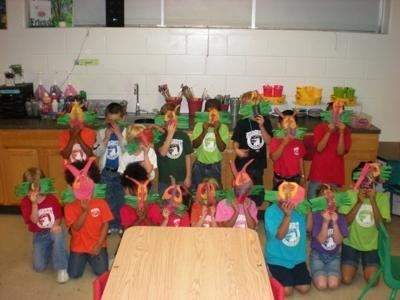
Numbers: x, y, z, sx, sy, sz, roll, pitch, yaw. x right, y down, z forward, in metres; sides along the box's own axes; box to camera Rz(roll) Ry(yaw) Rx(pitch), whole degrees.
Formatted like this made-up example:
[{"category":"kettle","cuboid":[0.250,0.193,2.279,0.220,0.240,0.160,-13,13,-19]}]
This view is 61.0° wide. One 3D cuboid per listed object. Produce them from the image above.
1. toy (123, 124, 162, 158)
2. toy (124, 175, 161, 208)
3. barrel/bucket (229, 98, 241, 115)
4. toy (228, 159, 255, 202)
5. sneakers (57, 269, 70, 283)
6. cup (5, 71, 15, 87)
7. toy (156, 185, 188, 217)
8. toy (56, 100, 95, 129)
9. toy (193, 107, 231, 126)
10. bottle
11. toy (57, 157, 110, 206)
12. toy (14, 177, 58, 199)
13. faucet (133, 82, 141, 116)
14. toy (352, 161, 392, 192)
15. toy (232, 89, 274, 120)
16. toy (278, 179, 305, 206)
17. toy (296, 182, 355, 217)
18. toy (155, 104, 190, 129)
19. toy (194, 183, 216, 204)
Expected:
[{"category":"toy","cuboid":[-0.555,-0.135,3.019,0.229,0.313,0.094,-4,35,-26]},{"category":"toy","cuboid":[-0.469,0.333,2.692,0.247,0.268,0.096,-1,19,-17]},{"category":"barrel/bucket","cuboid":[0.456,-0.538,4.195,0.166,0.189,0.163,1,7,0]},{"category":"toy","cuboid":[0.315,0.233,2.459,0.140,0.353,0.319,3,13,20]},{"category":"sneakers","cuboid":[-1.151,1.058,2.828,0.066,0.115,0.114,2,-13,-10]},{"category":"cup","cuboid":[-2.266,-0.844,4.017,0.097,0.168,0.227,-8,14,-29]},{"category":"toy","cuboid":[-0.203,0.393,2.571,0.189,0.303,0.186,-3,12,-7]},{"category":"toy","cuboid":[-1.184,-0.327,3.274,0.304,0.222,0.317,-1,9,-11]},{"category":"toy","cuboid":[0.117,-0.304,3.253,0.330,0.146,0.298,-2,12,-2]},{"category":"bottle","cuboid":[-1.723,-0.577,3.976,0.464,0.326,0.182,-2,10,-13]},{"category":"toy","cuboid":[-0.876,0.228,2.517,0.314,0.340,0.155,-7,13,-27]},{"category":"toy","cuboid":[-1.335,0.301,2.764,0.265,0.160,0.072,-6,9,1]},{"category":"faucet","cuboid":[-0.804,-0.644,4.289,0.080,0.389,0.149,-4,12,-12]},{"category":"toy","cuboid":[1.442,0.203,2.841,0.269,0.294,0.620,5,14,26]},{"category":"toy","cuboid":[0.530,-0.423,3.195,0.286,0.262,0.225,2,12,14]},{"category":"toy","cuboid":[0.638,0.313,2.384,0.187,0.174,0.085,0,12,7]},{"category":"toy","cuboid":[0.970,0.423,2.569,0.341,0.116,0.300,-10,39,11]},{"category":"toy","cuboid":[-0.266,-0.300,3.194,0.237,0.176,0.323,1,19,-11]},{"category":"toy","cuboid":[0.032,0.316,2.583,0.121,0.177,0.171,-1,13,-22]}]
